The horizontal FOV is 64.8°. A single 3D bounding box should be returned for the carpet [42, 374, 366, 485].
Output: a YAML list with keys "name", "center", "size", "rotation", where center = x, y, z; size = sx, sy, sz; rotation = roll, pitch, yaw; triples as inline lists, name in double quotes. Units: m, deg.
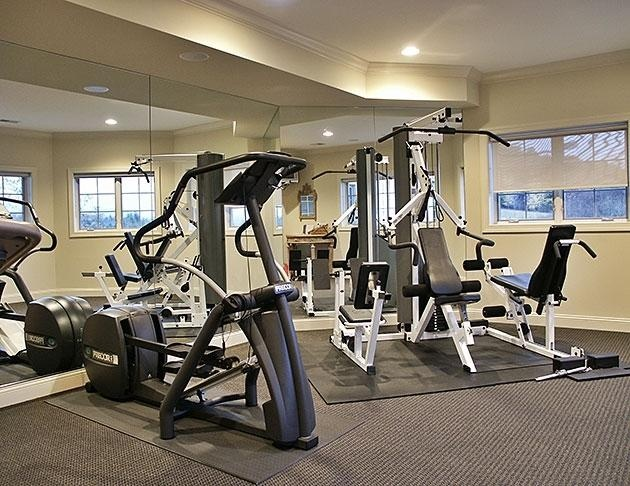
- name: "carpet"
  center: [-0.825, 1.306, 3.715]
  size: [2.104, 0.060, 0.929]
  rotation: [2, 8, 32]

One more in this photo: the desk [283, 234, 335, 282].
- name: "desk"
  center: [-0.027, 0.329, 6.723]
  size: [0.662, 0.618, 0.545]
  rotation: [0, -36, -4]

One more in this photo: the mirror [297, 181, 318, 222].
- name: "mirror"
  center: [-0.090, -0.546, 6.473]
  size: [0.249, 0.477, 0.079]
  rotation: [-5, 8, -24]
